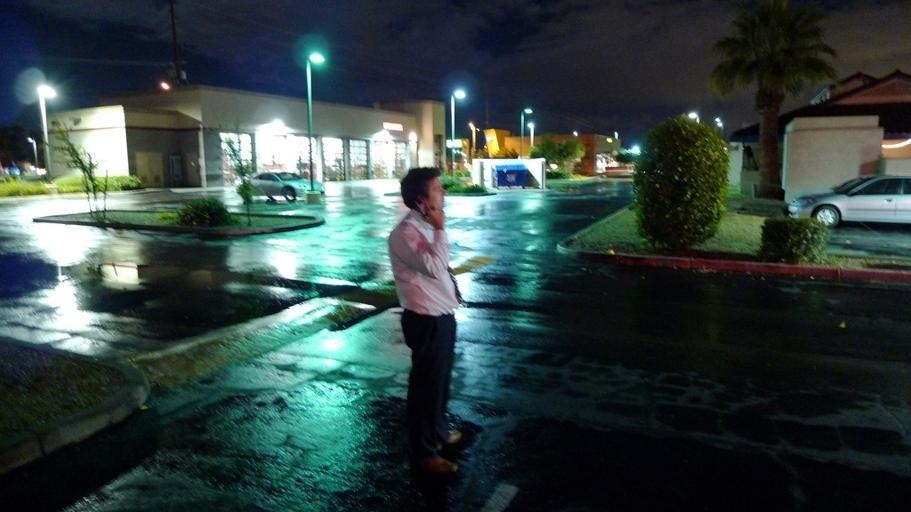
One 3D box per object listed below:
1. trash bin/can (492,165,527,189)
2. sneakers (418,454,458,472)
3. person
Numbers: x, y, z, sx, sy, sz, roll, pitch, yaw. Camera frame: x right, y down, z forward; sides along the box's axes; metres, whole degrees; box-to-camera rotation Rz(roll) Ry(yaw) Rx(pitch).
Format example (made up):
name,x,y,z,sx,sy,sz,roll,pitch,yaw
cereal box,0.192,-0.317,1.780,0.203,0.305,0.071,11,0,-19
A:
name,x,y,z,sx,sy,sz,roll,pitch,yaw
trash bin/can,4.276,-6.026,46.187,2.440,1.421,1.744,-1,6,-3
sneakers,-0.207,2.669,7.452,0.565,0.221,0.198,-1,4,8
person,-0.357,0.841,7.313,0.837,3.856,0.662,-2,11,-1
